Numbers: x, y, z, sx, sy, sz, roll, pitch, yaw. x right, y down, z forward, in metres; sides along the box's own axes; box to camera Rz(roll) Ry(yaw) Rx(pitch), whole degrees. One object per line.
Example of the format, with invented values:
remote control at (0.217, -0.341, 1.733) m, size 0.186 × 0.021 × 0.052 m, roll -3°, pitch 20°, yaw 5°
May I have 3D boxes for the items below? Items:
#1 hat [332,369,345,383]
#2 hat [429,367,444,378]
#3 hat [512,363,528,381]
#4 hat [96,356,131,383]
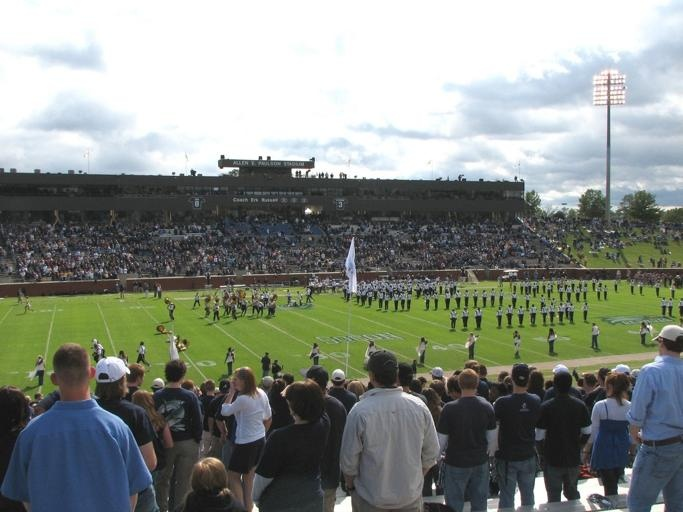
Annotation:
hat at (-0.064, 2.795, 20.851) m, size 0.288 × 0.251 × 0.489 m, roll 4°, pitch -24°, yaw 3°
hat at (2.600, 3.155, 24.141) m, size 0.257 × 0.339 × 0.744 m, roll 0°, pitch 2°, yaw 2°
hat at (3.931, 2.546, 19.663) m, size 0.336 × 0.558 × 0.318 m, roll -3°, pitch 34°, yaw 0°
hat at (-4.829, 2.366, 18.750) m, size 0.427 × 0.359 × 0.600 m, roll 9°, pitch 16°, yaw 18°
